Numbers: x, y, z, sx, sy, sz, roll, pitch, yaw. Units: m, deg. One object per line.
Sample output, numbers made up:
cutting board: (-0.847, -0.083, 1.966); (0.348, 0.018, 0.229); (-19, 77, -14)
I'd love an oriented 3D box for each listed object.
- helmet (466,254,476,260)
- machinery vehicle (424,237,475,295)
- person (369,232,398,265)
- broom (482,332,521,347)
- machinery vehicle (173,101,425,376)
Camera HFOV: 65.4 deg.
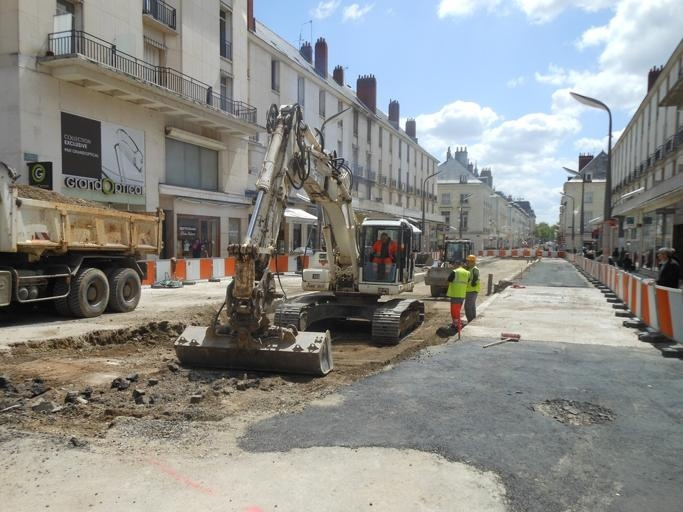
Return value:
helmet: (3.500, 0.030, 14.434); (0.194, 0.144, 0.285); (5, 10, 11)
machinery vehicle: (4.898, 0.379, 24.020); (1.137, 1.922, 3.547); (9, 16, 27)
person: (1.151, -0.167, 13.715); (0.664, 0.945, 0.646); (-1, -9, 14)
broom: (3.655, 1.888, 11.981); (0.452, 0.117, 1.374); (8, 11, 39)
machinery vehicle: (-0.133, -0.495, 12.219); (2.955, 5.193, 7.120); (1, 3, 29)
